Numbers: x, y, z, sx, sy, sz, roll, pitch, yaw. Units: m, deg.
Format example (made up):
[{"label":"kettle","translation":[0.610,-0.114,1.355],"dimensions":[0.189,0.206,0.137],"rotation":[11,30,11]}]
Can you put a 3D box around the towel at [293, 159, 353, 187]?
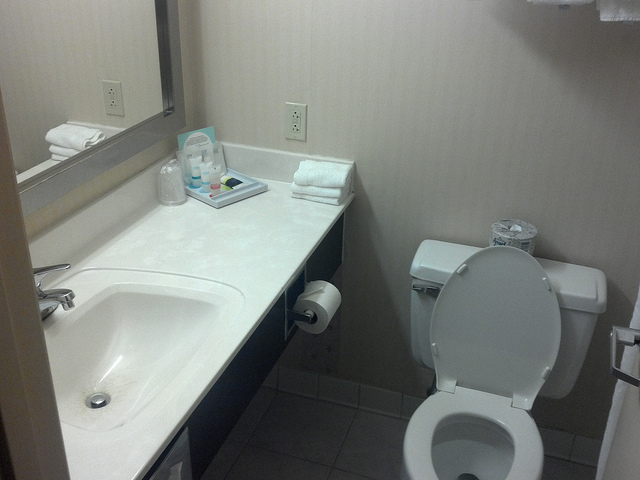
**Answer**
[{"label":"towel","translation":[0.009,-0.263,1.888],"dimensions":[0.147,0.050,0.129],"rotation":[9,38,18]}]

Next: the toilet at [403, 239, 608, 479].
[{"label":"toilet","translation":[0.624,0.425,1.916],"dimensions":[0.660,0.950,0.909],"rotation":[12,57,15]}]

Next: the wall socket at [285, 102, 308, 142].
[{"label":"wall socket","translation":[-0.093,-0.488,1.960],"dimensions":[0.116,0.195,0.018],"rotation":[8,28,12]}]

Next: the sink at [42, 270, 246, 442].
[{"label":"sink","translation":[-0.500,0.294,1.330],"dimensions":[0.360,0.160,0.412],"rotation":[14,38,16]}]

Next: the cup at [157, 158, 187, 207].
[{"label":"cup","translation":[-0.565,-0.209,1.829],"dimensions":[0.098,0.155,0.069],"rotation":[-9,31,-18]}]
